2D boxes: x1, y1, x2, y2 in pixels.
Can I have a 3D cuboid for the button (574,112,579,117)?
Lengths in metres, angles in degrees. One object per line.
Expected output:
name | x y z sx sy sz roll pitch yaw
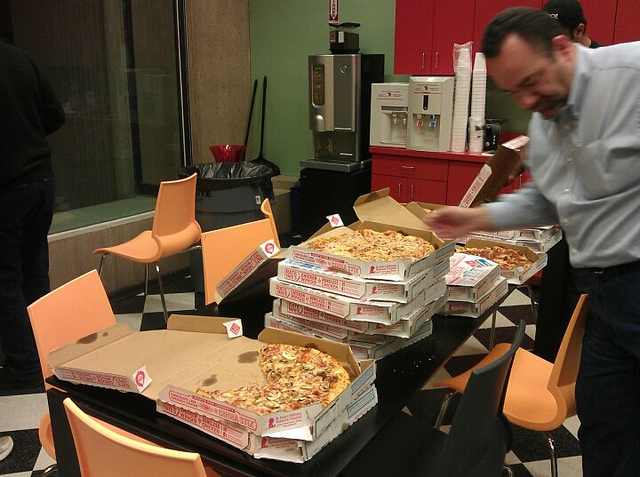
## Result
button | 0.797 -0.383 1.586 0.013 0.014 0.006 -3 17 -2

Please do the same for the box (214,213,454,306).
box | 0.034 0.078 1.862 0.533 0.233 0.530 15 23 31

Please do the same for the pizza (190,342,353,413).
pizza | -0.129 0.414 1.534 0.395 0.050 0.336 8 19 30

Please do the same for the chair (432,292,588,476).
chair | 0.801 0.615 2.108 0.522 0.842 0.450 25 44 37

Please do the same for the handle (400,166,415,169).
handle | 0.810 -0.650 4.723 0.117 0.023 0.013 6 19 27

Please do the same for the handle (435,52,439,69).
handle | 1.041 -1.590 4.564 0.026 0.127 0.022 5 18 25

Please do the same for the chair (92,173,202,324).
chair | -1.194 0.058 3.707 0.805 1.021 0.776 1 15 -10

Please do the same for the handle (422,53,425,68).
handle | 0.938 -1.621 4.638 0.016 0.107 0.010 6 18 26

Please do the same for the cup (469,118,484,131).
cup | 1.358 -0.989 4.438 0.104 0.118 0.106 -1 21 0

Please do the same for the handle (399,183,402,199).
handle | 0.756 -0.448 4.797 0.023 0.134 0.021 -1 17 6

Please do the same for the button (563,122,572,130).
button | 0.780 -0.352 1.609 0.021 0.021 0.005 7 8 42

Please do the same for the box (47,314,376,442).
box | -0.336 0.399 1.614 0.814 0.147 0.431 12 21 27

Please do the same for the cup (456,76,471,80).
cup | 1.231 -1.371 4.379 0.111 0.027 0.054 -4 17 -4

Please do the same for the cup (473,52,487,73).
cup | 1.363 -1.494 4.351 0.119 0.167 0.111 -2 17 1

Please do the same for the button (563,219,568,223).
button | 0.816 -0.056 1.691 0.010 0.012 0.003 11 21 37

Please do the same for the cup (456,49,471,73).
cup | 1.228 -1.499 4.331 0.148 0.219 0.159 -2 25 1

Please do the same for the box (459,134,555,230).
box | 0.827 -0.291 2.313 0.320 0.289 0.211 -10 18 -25

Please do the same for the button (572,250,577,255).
button | 0.857 0.046 1.718 0.012 0.009 0.012 -12 13 2

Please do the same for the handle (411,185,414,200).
handle | 0.858 -0.430 4.741 0.023 0.120 0.023 0 17 8

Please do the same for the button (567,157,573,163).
button | 0.812 -0.254 1.656 0.012 0.017 0.018 -18 22 -41
